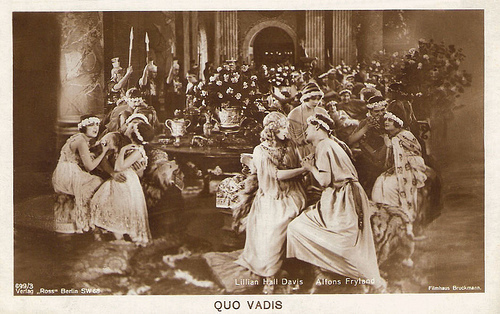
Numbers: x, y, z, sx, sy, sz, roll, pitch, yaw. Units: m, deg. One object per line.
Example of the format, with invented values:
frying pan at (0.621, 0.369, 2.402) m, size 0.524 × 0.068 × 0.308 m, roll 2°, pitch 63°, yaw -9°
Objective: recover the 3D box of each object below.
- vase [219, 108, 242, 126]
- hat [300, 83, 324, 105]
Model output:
vase at (-0.396, -0.821, 9.069) m, size 0.416 × 0.268 × 0.401 m, roll -4°, pitch 10°, yaw -11°
hat at (1.198, -1.249, 8.981) m, size 0.359 × 0.210 × 0.420 m, roll -1°, pitch -7°, yaw -16°
